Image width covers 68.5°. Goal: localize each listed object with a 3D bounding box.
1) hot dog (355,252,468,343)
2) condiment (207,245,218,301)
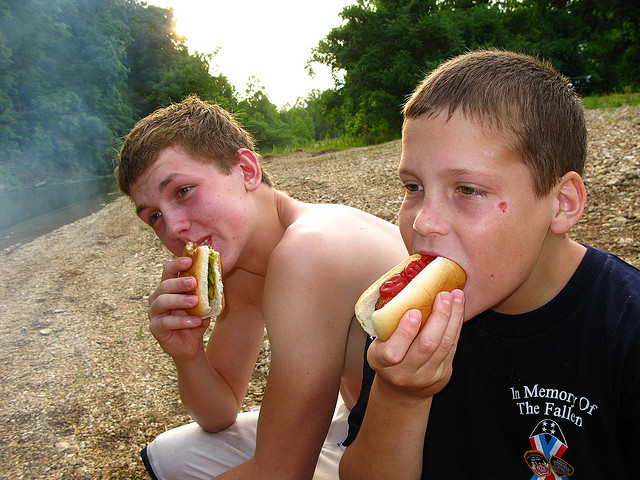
[{"bbox_3d":[0.489,0.298,2.725,0.733,0.293,0.373,-41,19,-14],"label":"hot dog"},{"bbox_3d":[-0.838,0.266,3.797,0.100,0.440,0.129,-3,11,-19],"label":"condiment"}]
